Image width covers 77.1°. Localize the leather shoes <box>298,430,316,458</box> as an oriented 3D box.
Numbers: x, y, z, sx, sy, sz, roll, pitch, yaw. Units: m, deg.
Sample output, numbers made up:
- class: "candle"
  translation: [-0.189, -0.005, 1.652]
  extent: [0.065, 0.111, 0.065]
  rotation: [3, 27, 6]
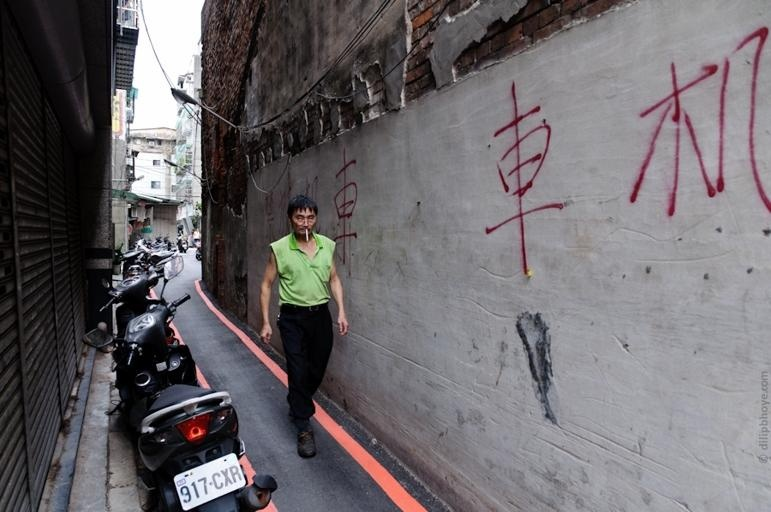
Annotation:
- class: "leather shoes"
  translation: [-0.696, 1.664, 4.342]
  extent: [0.180, 0.201, 0.173]
  rotation: [-1, 10, -4]
